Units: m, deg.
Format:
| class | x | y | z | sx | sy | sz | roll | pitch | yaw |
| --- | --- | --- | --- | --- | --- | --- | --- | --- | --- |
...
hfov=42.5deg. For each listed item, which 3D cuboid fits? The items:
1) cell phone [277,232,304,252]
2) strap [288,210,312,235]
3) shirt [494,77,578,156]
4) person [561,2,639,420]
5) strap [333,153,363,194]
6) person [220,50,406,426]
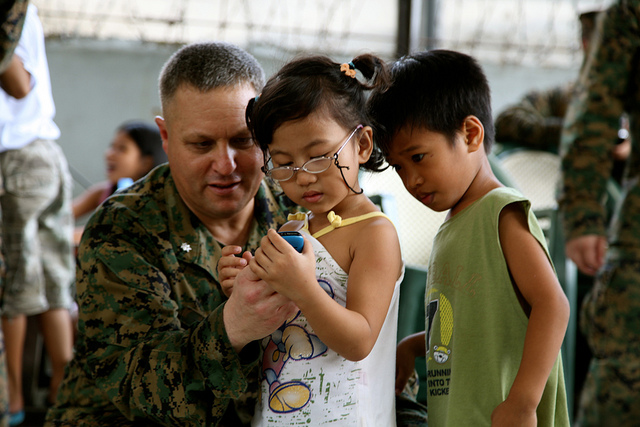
| class | x | y | z | sx | sy | sz | roll | pitch | yaw |
| --- | --- | --- | --- | --- | --- | --- | --- | --- | --- |
| cell phone | -0.089 | 0.093 | 2.650 | 0.075 | 0.062 | 0.058 | -3 | 3 | -4 |
| strap | -0.072 | 0.025 | 2.845 | 0.079 | 0.031 | 0.066 | -1 | 45 | 9 |
| shirt | 1.081 | -0.492 | 4.199 | 0.470 | 0.221 | 0.631 | -20 | 0 | 9 |
| person | 0.853 | -0.013 | 2.496 | 0.226 | 1.256 | 0.208 | -1 | 3 | 23 |
| strap | 0.084 | -0.136 | 2.695 | 0.034 | 0.116 | 0.113 | -18 | -17 | 42 |
| person | -0.026 | 0.101 | 2.771 | 0.605 | 1.290 | 0.426 | -3 | 3 | -1 |
